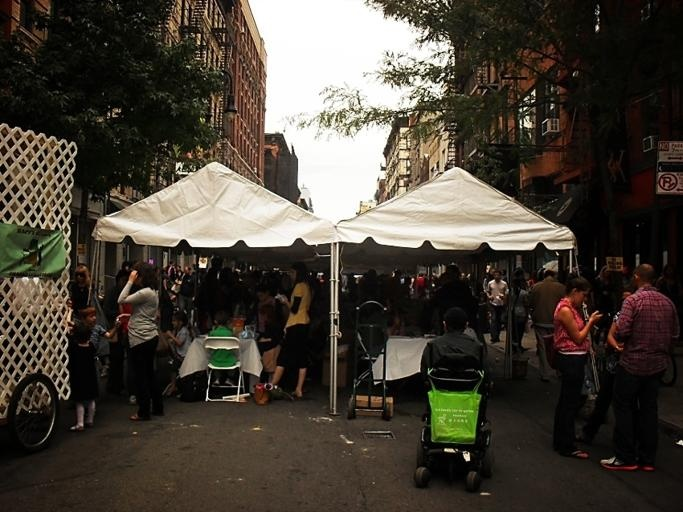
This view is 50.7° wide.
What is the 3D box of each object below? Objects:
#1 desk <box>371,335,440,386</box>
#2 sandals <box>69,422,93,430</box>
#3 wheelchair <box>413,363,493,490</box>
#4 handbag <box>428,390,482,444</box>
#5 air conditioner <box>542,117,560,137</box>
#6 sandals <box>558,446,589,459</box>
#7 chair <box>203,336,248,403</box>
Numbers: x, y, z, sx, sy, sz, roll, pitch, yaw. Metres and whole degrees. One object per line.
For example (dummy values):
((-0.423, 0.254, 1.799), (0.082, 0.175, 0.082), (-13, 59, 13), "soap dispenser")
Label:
((1.103, 1.957, 12.557), (1.085, 1.026, 1.053), (2, 1, 5), "desk")
((-3.779, 2.462, 10.435), (0.213, 0.087, 0.126), (3, -5, -8), "sandals")
((1.361, 2.026, 9.002), (0.847, 1.526, 1.451), (4, 5, 12), "wheelchair")
((1.348, 1.923, 8.652), (0.624, 0.635, 0.191), (-1, -6, 12), "handbag")
((7.895, -4.850, 27.092), (0.526, 0.733, 1.011), (0, 0, -7), "air conditioner")
((3.102, 2.614, 9.620), (0.362, 0.178, 0.149), (-5, -1, 18), "sandals")
((-2.078, 1.912, 12.771), (0.544, 1.172, 0.782), (1, 9, -3), "chair")
